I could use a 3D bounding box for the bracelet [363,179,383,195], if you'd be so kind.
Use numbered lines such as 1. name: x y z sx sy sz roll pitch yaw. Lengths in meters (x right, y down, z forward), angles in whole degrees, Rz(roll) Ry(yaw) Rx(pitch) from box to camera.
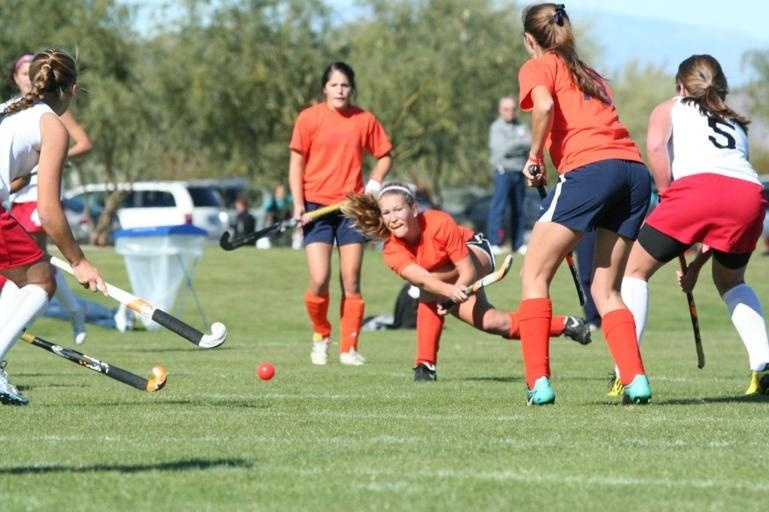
1. bracelet: -0.108 -0.582 10.331 0.161 0.151 0.157 0 -10 5

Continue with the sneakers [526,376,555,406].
1. sneakers: 1.040 0.901 8.107 0.121 0.150 0.229 -1 2 -5

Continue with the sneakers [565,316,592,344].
1. sneakers: 1.478 0.568 9.311 0.225 0.189 0.180 11 -10 -28

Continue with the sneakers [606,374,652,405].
1. sneakers: 1.649 0.887 8.125 0.140 0.154 0.372 -4 4 -5

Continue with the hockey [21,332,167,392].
1. hockey: -2.409 0.881 9.953 0.894 0.195 0.121 20 -38 -8

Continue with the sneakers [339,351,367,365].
1. sneakers: -0.275 0.877 10.412 0.199 0.091 0.101 -4 4 20

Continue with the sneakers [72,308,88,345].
1. sneakers: -2.967 0.676 11.685 0.125 0.354 0.188 -4 10 -4

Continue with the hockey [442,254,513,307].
1. hockey: 0.757 0.216 10.026 0.238 0.149 1.367 -5 -17 -18

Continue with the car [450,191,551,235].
1. car: 2.819 -1.013 29.218 1.870 0.643 1.452 -1 -1 18

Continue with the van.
1. van: -4.566 -0.880 22.503 3.083 1.083 1.467 5 4 18

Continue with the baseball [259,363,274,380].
1. baseball: -0.931 0.893 9.406 0.121 0.138 0.222 -2 6 -9

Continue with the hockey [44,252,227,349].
1. hockey: -2.570 0.483 12.351 1.708 0.325 0.140 29 8 3

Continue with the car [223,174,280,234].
1. car: -3.779 -1.570 32.438 1.540 2.048 0.823 0 -2 -27

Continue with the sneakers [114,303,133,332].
1. sneakers: -2.953 0.695 13.609 0.229 0.307 0.085 -5 0 -37

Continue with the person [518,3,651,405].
1. person: 1.336 -0.365 8.121 0.871 2.669 0.565 0 6 9

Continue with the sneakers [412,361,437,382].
1. sneakers: 0.284 0.891 9.241 0.101 0.116 0.193 2 2 13
